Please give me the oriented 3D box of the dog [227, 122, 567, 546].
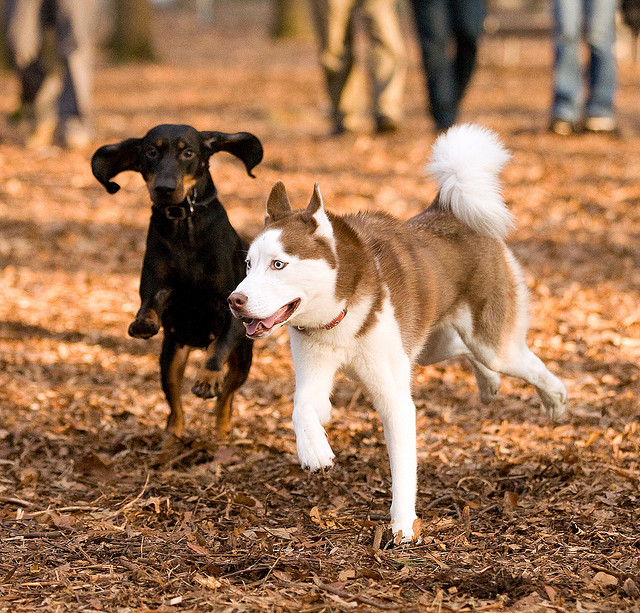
[{"bbox_3d":[0.448,0.070,4.673,0.956,1.664,1.673,17,26,36],"label":"dog"}]
